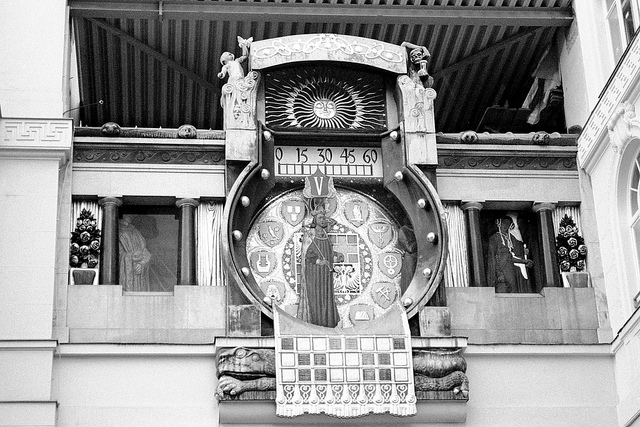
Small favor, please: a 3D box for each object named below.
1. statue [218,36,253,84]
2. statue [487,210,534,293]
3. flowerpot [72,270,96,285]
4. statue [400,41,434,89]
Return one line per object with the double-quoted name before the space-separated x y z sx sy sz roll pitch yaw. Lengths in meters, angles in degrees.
"statue" -1.652 -3.034 27.851 0.633 1.045 0.479 -3 -16 -4
"statue" 3.695 0.778 27.961 0.919 0.723 2.199 -18 -44 -8
"flowerpot" -4.432 1.180 26.638 0.281 0.224 0.298 2 -7 -6
"statue" 1.902 -2.942 28.099 0.524 0.945 0.465 -4 -16 -1
